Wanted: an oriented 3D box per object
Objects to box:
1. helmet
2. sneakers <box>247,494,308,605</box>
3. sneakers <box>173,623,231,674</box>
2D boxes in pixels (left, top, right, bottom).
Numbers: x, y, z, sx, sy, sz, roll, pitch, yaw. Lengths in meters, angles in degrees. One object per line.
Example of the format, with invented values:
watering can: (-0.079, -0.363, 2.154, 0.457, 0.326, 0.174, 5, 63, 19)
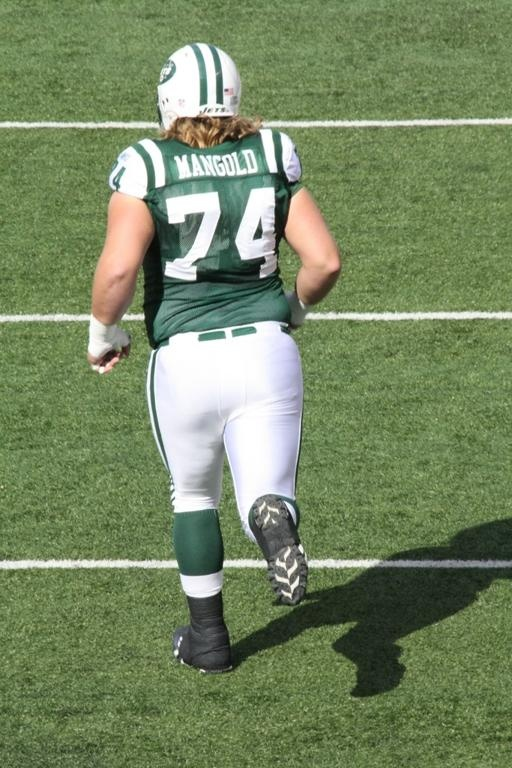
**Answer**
helmet: (-0.212, -1.112, 4.395, 0.305, 0.299, 0.384, -8, 13, -18)
sneakers: (0.076, 0.549, 4.073, 0.163, 0.385, 0.181, -13, -10, -1)
sneakers: (-0.235, 1.053, 4.843, 0.136, 0.152, 0.369, -2, 6, -20)
